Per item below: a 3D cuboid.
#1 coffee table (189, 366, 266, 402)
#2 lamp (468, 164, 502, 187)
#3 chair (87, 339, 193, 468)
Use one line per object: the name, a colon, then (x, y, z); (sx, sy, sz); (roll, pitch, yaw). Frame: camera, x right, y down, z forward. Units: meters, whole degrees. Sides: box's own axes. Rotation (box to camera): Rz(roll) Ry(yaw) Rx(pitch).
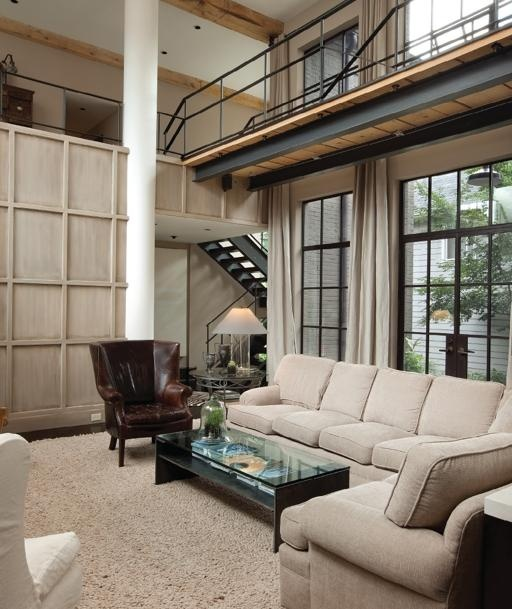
coffee table: (-0.355, 0.983, 6.387); (0.756, 0.270, 0.736); (0, 2, -36)
lamp: (2.276, -1.255, 5.183); (0.216, 0.210, 0.207); (0, 3, -36)
chair: (-0.851, 0.821, 4.814); (0.998, 1.098, 1.011); (3, -8, -31)
